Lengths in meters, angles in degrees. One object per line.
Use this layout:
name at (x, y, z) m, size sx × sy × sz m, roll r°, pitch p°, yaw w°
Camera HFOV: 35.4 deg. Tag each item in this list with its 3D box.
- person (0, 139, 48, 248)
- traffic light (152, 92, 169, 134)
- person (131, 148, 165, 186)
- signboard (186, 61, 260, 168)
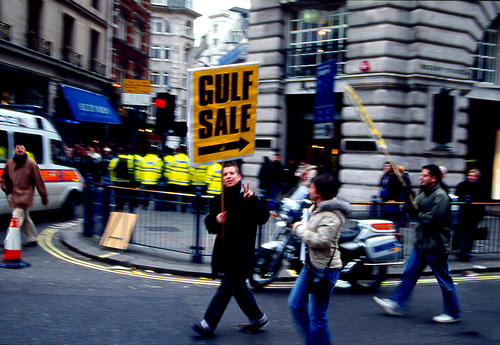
person at (-6.331, 0.597, 21.576) m, size 1.004 × 2.979 × 1.102 m, roll 1°, pitch 1°, yaw -39°
traffic light at (-2.776, -1.826, 23.890) m, size 0.334 × 1.246 × 0.463 m, roll 1°, pitch 1°, yaw -40°
person at (-3.541, -0.126, 27.217) m, size 1.011 × 1.152 × 0.468 m, roll 2°, pitch 1°, yaw 26°
signboard at (-0.672, -1.355, 18.088) m, size 1.612 × 2.446 × 0.720 m, roll -6°, pitch 12°, yaw -23°
